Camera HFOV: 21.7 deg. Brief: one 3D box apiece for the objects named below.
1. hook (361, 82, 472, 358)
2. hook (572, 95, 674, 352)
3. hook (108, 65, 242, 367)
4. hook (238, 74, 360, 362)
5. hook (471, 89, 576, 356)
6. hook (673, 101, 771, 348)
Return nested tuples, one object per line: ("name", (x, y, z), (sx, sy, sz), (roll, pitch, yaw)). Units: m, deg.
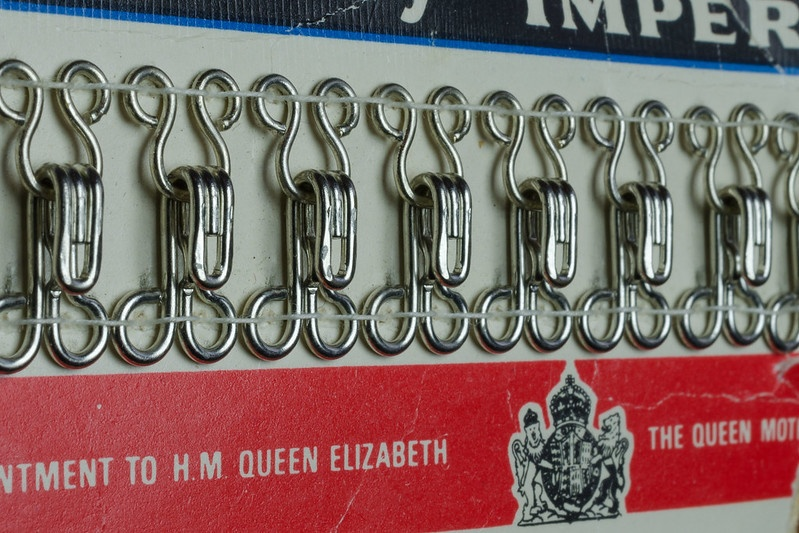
("hook", (0.018, -0.058, 2.448), (0.133, 0.318, 0.079), (-3, -6, -2))
("hook", (0.294, -0.046, 2.510), (0.123, 0.307, 0.090), (4, -6, -42))
("hook", (-0.255, -0.062, 2.387), (0.155, 0.343, 0.076), (-2, -6, -8))
("hook", (-0.114, -0.060, 2.423), (0.147, 0.334, 0.080), (-3, -6, -2))
("hook", (0.163, -0.050, 2.476), (0.123, 0.310, 0.102), (2, -2, -21))
("hook", (0.407, -0.042, 2.531), (0.114, 0.301, 0.101), (-1, 2, -13))
